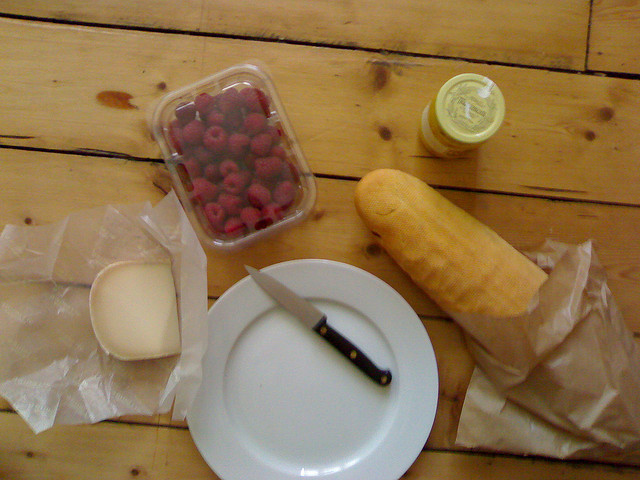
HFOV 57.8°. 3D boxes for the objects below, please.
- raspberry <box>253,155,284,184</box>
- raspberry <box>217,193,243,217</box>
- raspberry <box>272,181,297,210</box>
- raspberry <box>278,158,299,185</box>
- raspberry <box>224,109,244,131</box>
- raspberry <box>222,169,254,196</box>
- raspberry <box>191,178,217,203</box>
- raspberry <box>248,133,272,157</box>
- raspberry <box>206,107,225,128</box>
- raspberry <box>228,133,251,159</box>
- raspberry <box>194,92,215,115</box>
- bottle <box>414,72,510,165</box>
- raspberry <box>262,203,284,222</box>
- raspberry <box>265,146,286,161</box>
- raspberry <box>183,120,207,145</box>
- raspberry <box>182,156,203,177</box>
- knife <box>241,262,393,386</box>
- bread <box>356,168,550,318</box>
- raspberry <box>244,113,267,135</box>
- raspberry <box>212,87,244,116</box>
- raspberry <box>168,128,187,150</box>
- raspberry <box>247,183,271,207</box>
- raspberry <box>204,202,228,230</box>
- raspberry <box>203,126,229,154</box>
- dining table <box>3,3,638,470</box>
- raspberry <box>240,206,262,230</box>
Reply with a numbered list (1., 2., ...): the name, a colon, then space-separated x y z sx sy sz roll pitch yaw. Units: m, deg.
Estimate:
1. raspberry: -0.103 -0.141 1.145 0.060 0.034 0.048 -7 70 0
2. raspberry: -0.175 -0.070 1.143 0.048 0.028 0.035 39 82 -3
3. raspberry: -0.077 -0.089 1.151 0.052 0.024 0.051 27 84 -22
4. raspberry: -0.063 -0.138 1.166 0.029 0.018 0.054 -22 110 -46
5. raspberry: -0.169 -0.237 1.145 0.033 0.024 0.042 16 83 1
6. raspberry: -0.160 -0.117 1.141 0.039 0.022 0.065 42 77 15
7. raspberry: -0.230 -0.096 1.150 0.050 0.035 0.041 22 73 10
8. raspberry: -0.117 -0.191 1.138 0.042 0.022 0.047 17 72 8
9. raspberry: -0.206 -0.243 1.142 0.037 0.011 0.041 1 71 3
10. raspberry: -0.162 -0.182 1.134 0.038 0.027 0.047 7 95 -4
11. raspberry: -0.228 -0.270 1.141 0.034 0.023 0.041 4 91 -7
12. bottle: 0.281 -0.240 1.173 0.164 0.163 0.130 23 73 11
13. raspberry: -0.095 -0.055 1.160 0.039 0.035 0.030 -21 71 -5
14. raspberry: -0.085 -0.169 1.123 0.033 0.024 0.018 2 103 -6
15. raspberry: -0.246 -0.215 1.141 0.041 0.019 0.049 16 72 8
16. raspberry: -0.251 -0.143 1.144 0.034 0.022 0.038 13 92 -13
17. knife: -0.009 0.174 1.193 0.379 0.032 0.054 37 96 -5
18. bread: 0.254 0.012 1.238 0.456 0.137 0.204 41 103 6
19. raspberry: -0.127 -0.228 1.133 0.034 0.024 0.041 5 91 -8
20. raspberry: -0.182 -0.274 1.142 0.057 0.031 0.043 -3 79 -1
21. raspberry: -0.284 -0.202 1.149 0.025 0.037 0.043 -24 62 -39
22. raspberry: -0.122 -0.090 1.139 0.046 0.025 0.035 42 70 5
23. raspberry: -0.206 -0.045 1.155 0.051 0.026 0.039 56 51 -21
24. raspberry: -0.204 -0.197 1.138 0.049 0.027 0.048 -2 71 2
25. dining table: 0.031 -0.016 1.218 1.393 0.378 1.035 -6 71 0
26. raspberry: -0.136 -0.045 1.145 0.035 0.026 0.044 1 106 16
